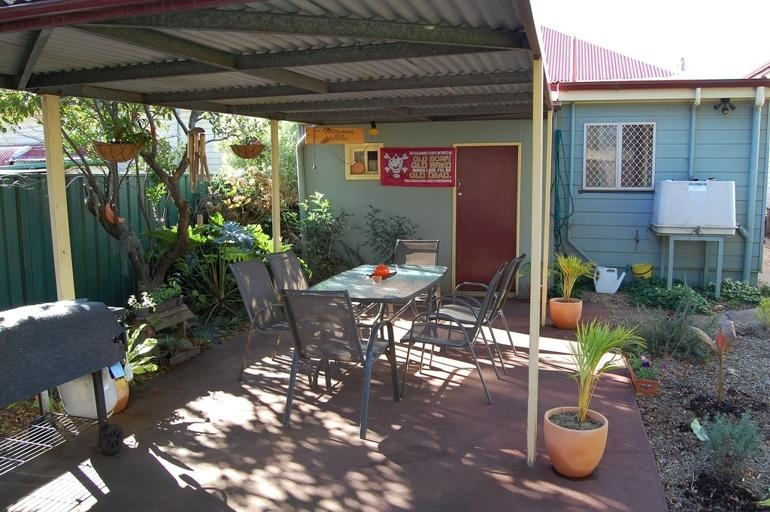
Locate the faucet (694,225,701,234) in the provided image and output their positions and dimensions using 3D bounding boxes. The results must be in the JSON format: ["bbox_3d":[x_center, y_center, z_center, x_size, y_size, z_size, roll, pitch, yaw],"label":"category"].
[{"bbox_3d":[5.112,-0.431,8.706,0.071,0.098,0.037,5,0,16],"label":"faucet"}]

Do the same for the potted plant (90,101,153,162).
[{"bbox_3d":[-3.017,-1.441,6.005,0.625,0.804,0.564,-8,16,-21],"label":"potted plant"}]

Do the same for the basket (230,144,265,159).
[{"bbox_3d":[-1.937,-1.475,7.486,0.429,0.178,0.394,-1,10,-8],"label":"basket"}]

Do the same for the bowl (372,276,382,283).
[{"bbox_3d":[-0.100,0.299,6.683,0.084,0.060,0.094,0,3,-8],"label":"bowl"}]

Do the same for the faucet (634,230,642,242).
[{"bbox_3d":[4.481,-0.347,9.475,0.072,0.093,0.237,2,47,18],"label":"faucet"}]

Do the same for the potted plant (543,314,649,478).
[{"bbox_3d":[1.796,1.249,4.701,0.749,1.355,0.763,9,4,-24],"label":"potted plant"}]

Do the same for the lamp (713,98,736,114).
[{"bbox_3d":[5.724,-2.511,9.062,0.363,0.333,0.210,4,18,17],"label":"lamp"}]

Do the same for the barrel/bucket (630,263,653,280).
[{"bbox_3d":[4.555,0.251,9.470,0.275,0.249,0.275,-5,13,1],"label":"barrel/bucket"}]

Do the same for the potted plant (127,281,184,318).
[{"bbox_3d":[-2.953,0.569,6.870,0.594,0.248,0.585,-3,10,-8],"label":"potted plant"}]

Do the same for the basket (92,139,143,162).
[{"bbox_3d":[-2.976,-1.161,5.929,0.468,0.209,0.283,-5,12,-29],"label":"basket"}]
